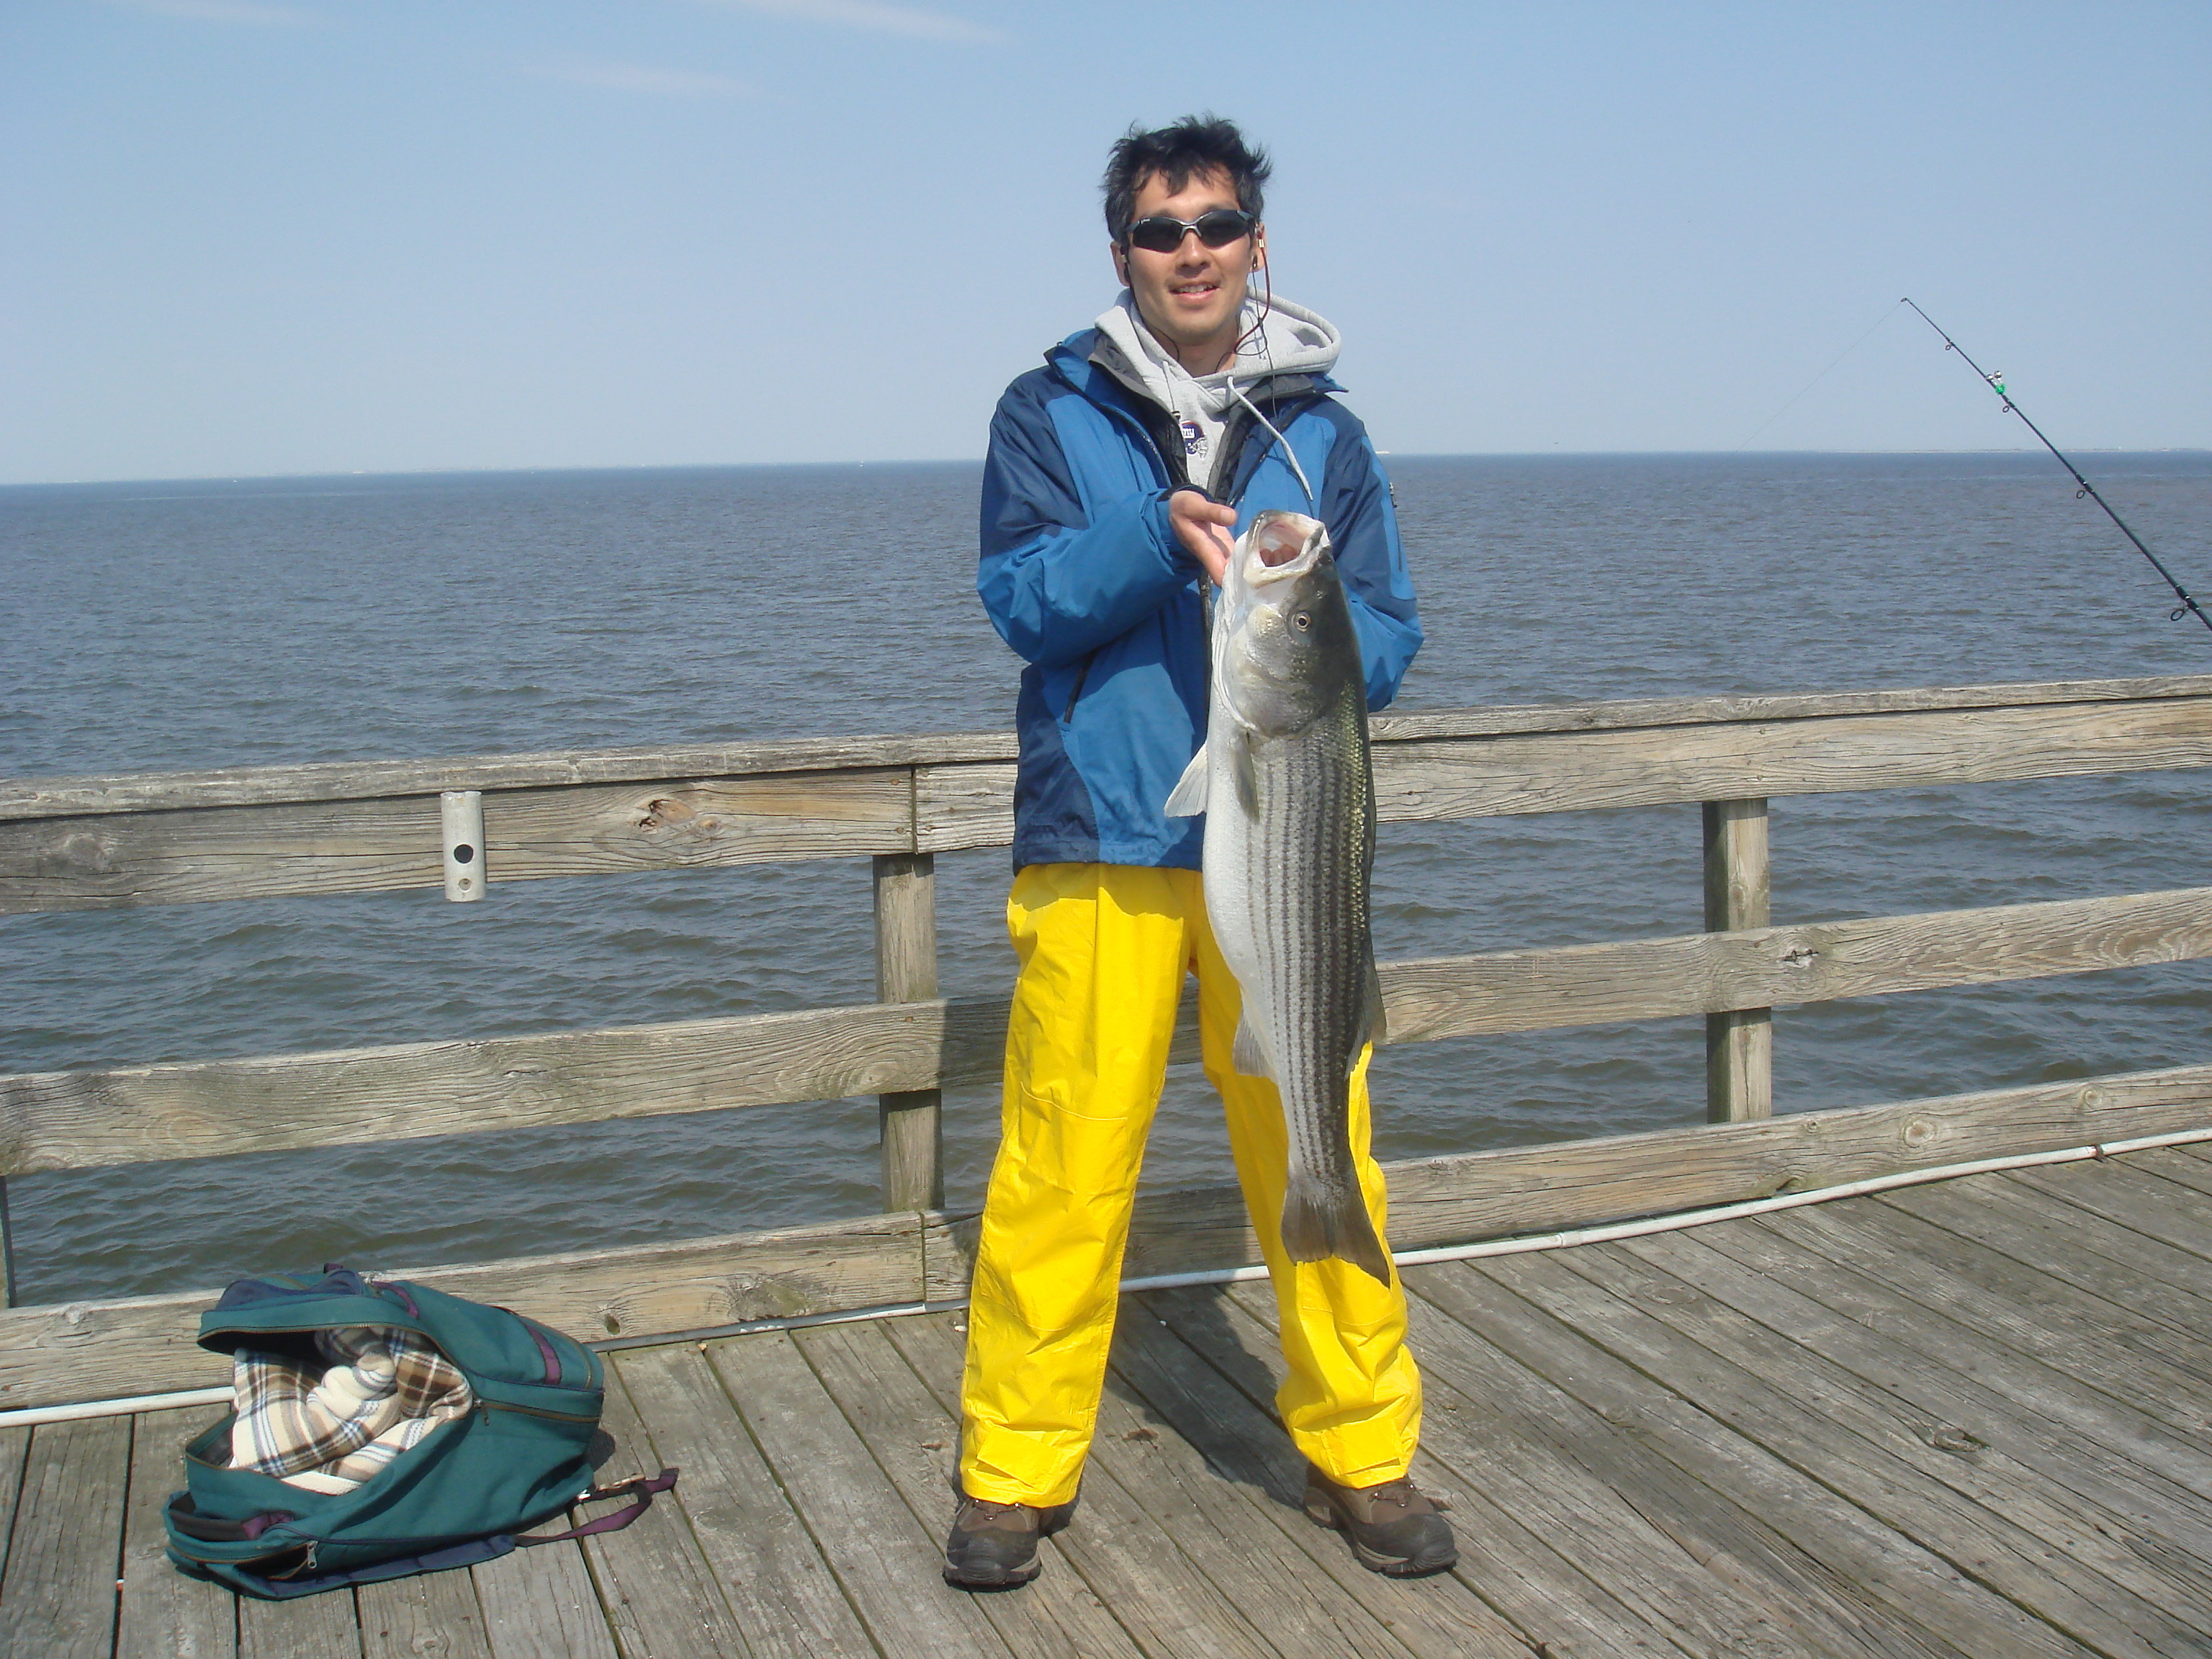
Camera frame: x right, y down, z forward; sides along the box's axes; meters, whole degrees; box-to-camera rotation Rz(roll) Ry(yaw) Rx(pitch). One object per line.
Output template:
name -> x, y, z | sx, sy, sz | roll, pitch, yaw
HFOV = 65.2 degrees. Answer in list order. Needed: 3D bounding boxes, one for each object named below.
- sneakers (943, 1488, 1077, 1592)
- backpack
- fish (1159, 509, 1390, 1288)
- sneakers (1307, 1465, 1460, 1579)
sneakers -> -0.202, 1.291, 3.162 | 0.123, 0.079, 0.213 | 2, 10, -6
backpack -> -1.328, 1.108, 3.214 | 0.845, 0.368, 0.508 | 3, -4, -11
fish -> 0.288, 0.154, 2.922 | 0.334, 1.372, 0.216 | -3, 16, 5
sneakers -> 0.519, 1.278, 3.211 | 0.132, 0.099, 0.259 | -2, -1, -34
